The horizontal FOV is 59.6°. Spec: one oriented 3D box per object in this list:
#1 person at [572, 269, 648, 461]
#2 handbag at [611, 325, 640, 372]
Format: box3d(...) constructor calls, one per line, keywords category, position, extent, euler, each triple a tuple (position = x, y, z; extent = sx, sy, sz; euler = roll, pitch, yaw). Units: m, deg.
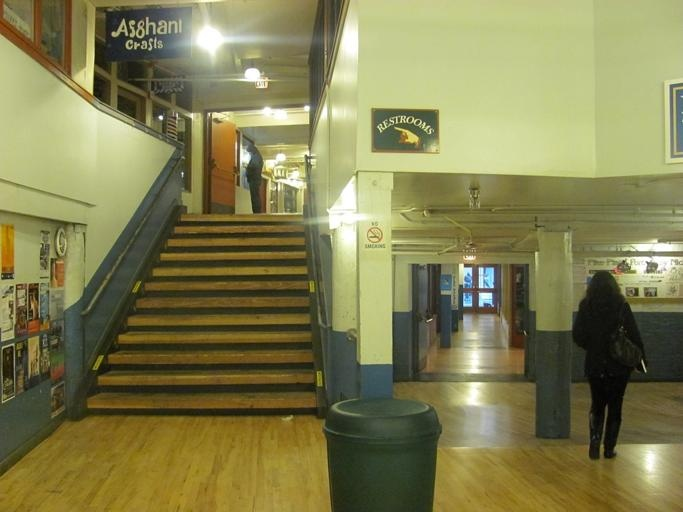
box3d(category="person", position=(2.910, 1.226, 6.534), extent=(0.741, 1.514, 0.489), euler=(4, 3, 22))
box3d(category="handbag", position=(3.008, 0.994, 6.315), extent=(0.353, 0.476, 0.157), euler=(15, -28, -6))
